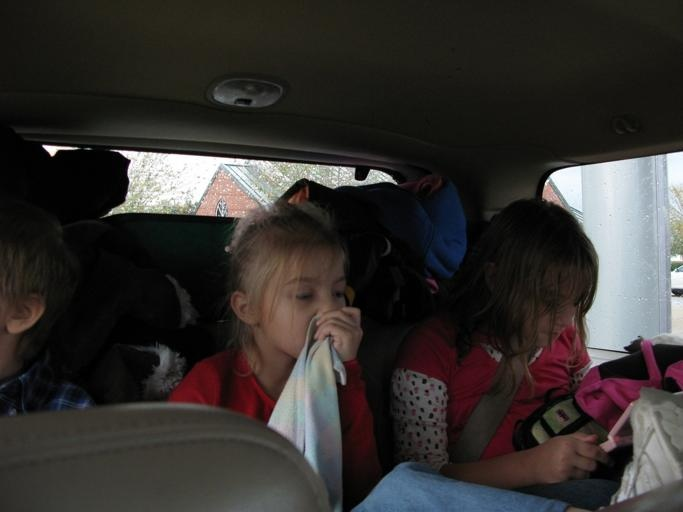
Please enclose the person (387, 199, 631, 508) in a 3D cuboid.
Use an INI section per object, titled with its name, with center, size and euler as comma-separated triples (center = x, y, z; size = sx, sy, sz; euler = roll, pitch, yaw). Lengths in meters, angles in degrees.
[person]
center = 0.633, 0.363, 1.870
size = 0.789, 1.011, 0.711
euler = 14, -22, -27
